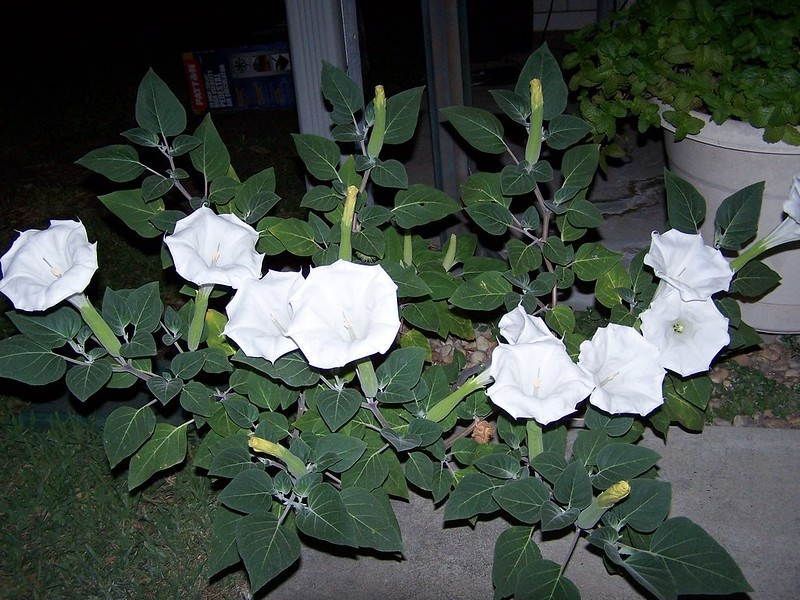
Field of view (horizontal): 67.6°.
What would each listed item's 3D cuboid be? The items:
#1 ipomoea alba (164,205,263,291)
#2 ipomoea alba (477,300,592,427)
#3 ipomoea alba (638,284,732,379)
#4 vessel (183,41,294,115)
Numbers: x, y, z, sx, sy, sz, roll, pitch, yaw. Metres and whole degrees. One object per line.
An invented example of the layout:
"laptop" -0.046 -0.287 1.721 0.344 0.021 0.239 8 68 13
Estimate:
"ipomoea alba" -0.490 -0.126 1.603 0.227 0.180 0.296 -13 38 -9
"ipomoea alba" 0.339 0.187 1.470 0.261 0.120 0.324 -3 41 5
"ipomoea alba" 0.715 0.068 1.564 0.186 0.070 0.182 -33 8 -22
"vessel" -1.524 -2.075 5.674 1.082 0.648 0.301 4 38 13
